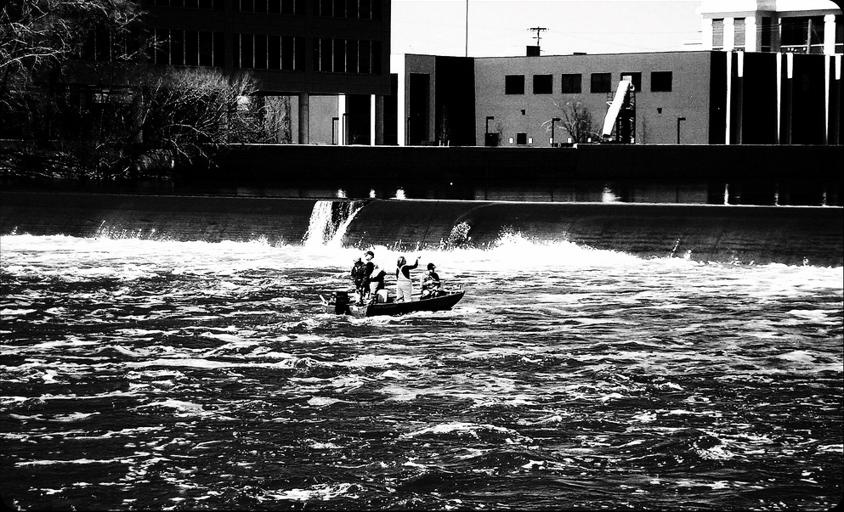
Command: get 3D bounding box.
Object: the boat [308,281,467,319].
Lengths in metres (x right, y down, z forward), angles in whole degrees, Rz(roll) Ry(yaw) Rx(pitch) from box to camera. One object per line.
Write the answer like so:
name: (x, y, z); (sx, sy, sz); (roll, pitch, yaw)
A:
boat: (-1.093, 1.650, 40.587); (4.977, 0.875, 1.495); (-2, 5, -5)
